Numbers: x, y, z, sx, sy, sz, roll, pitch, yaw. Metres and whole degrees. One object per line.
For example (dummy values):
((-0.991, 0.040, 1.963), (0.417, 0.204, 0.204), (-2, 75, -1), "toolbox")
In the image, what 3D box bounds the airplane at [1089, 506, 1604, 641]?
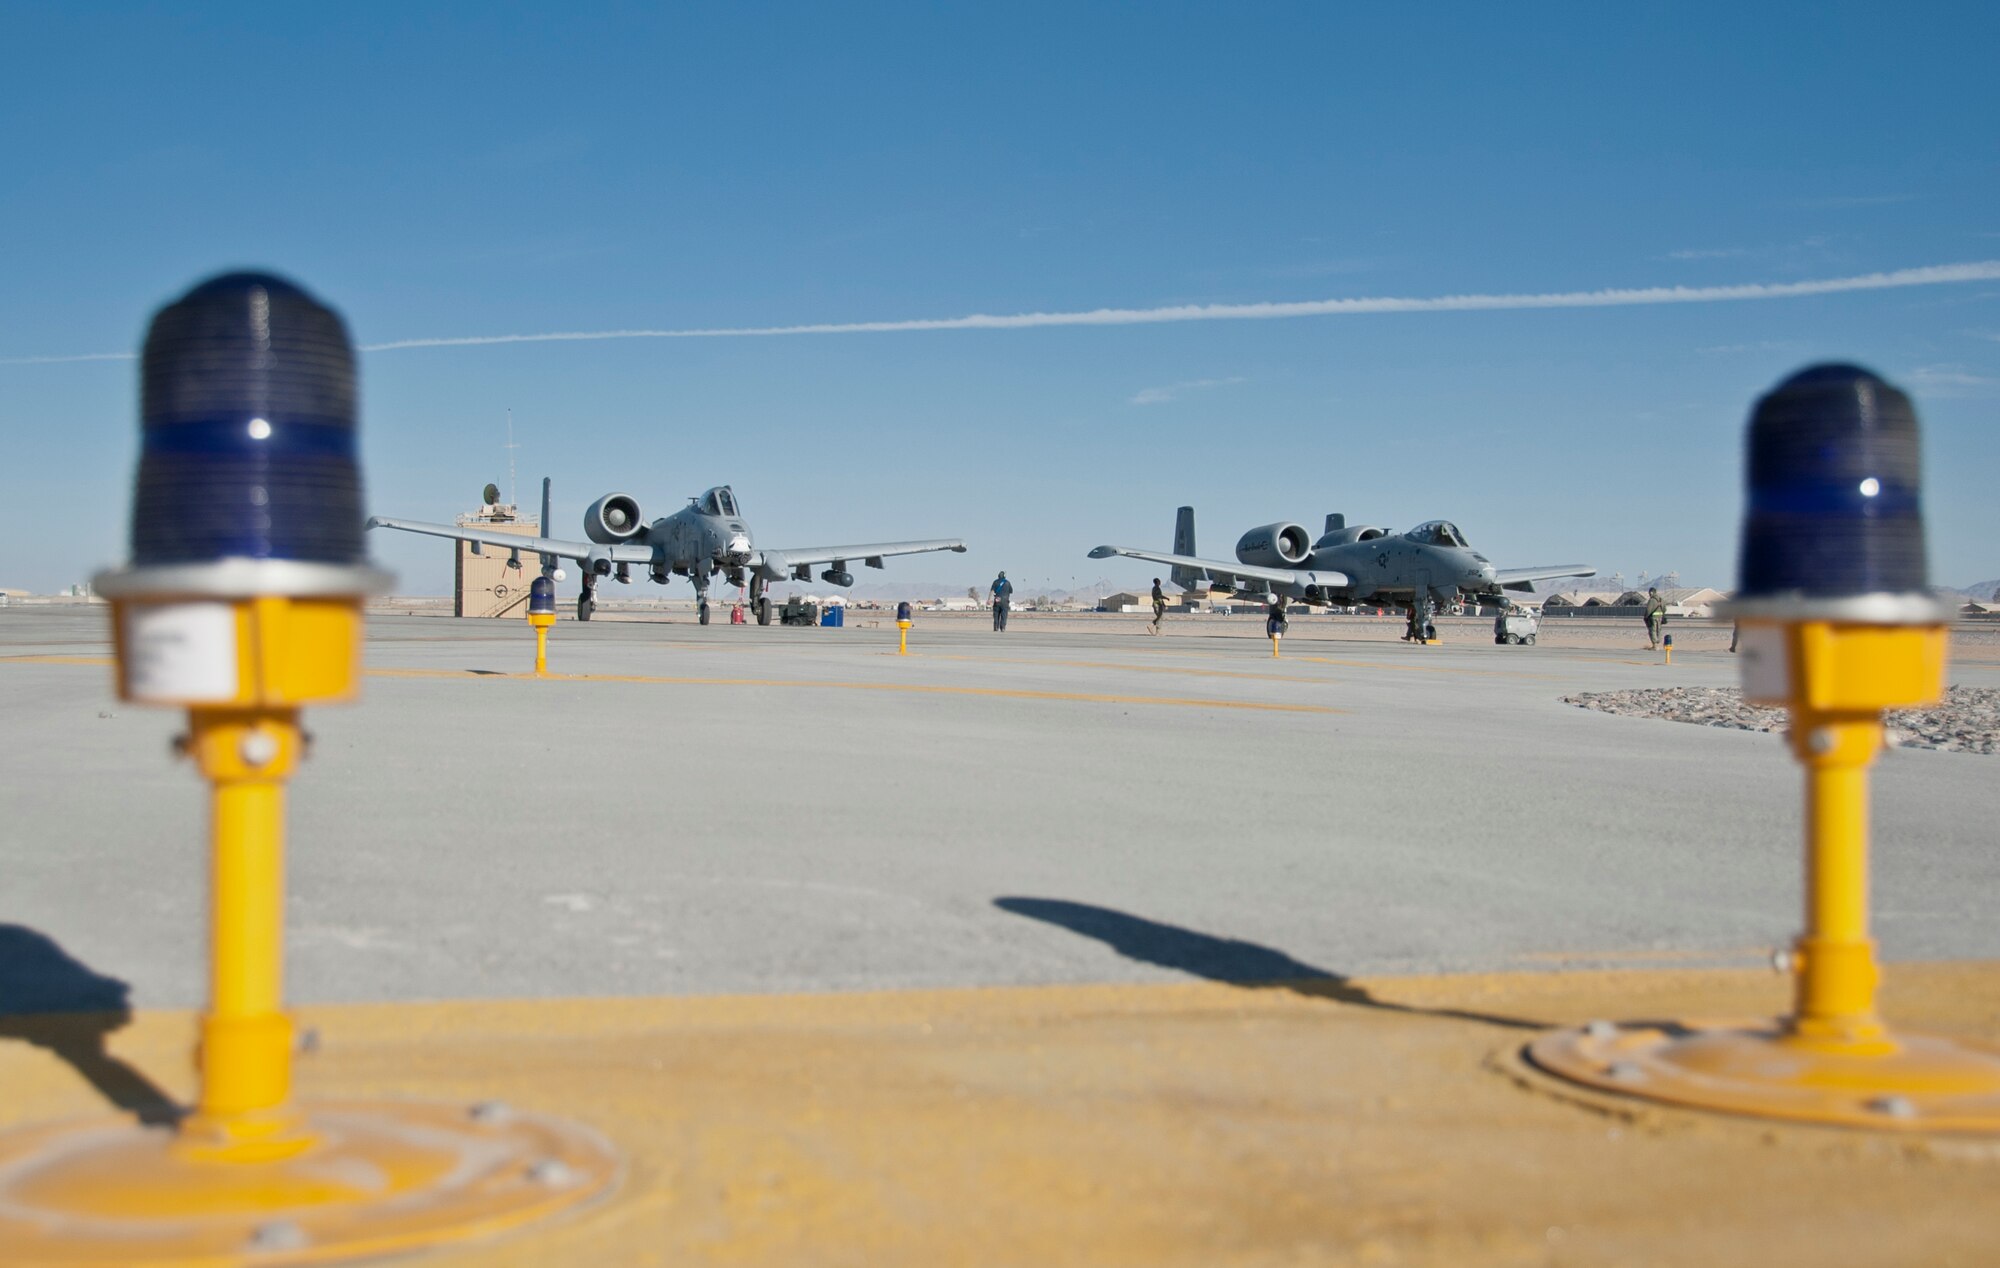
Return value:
((11.823, -1.966, 61.914), (5.699, 3.545, 18.783), (1, 0, -11), "airplane")
